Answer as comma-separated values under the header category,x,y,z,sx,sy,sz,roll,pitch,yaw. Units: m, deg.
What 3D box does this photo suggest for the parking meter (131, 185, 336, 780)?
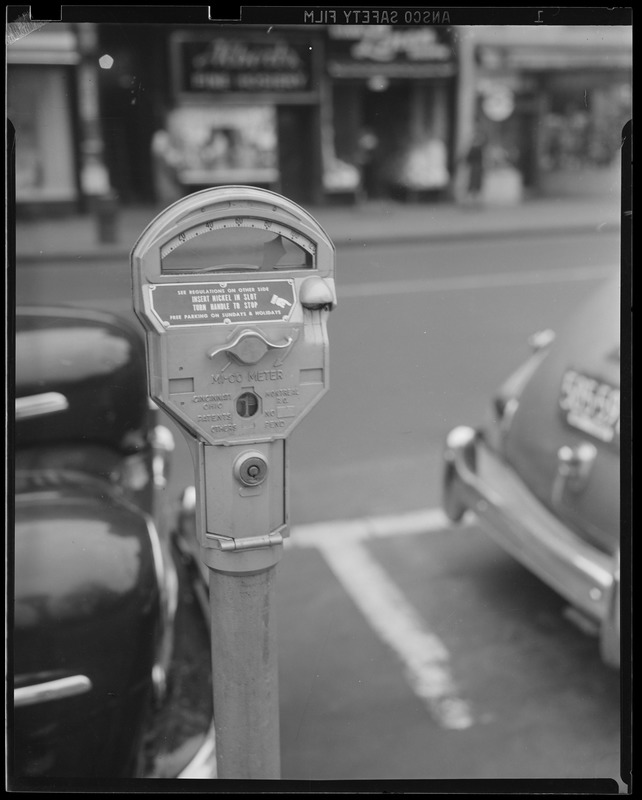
category,x,y,z,sx,sy,sz,roll,pitch,yaw
parking meter,-0.192,0.310,2.242,0.511,1.686,0.252,-11,19,-31
